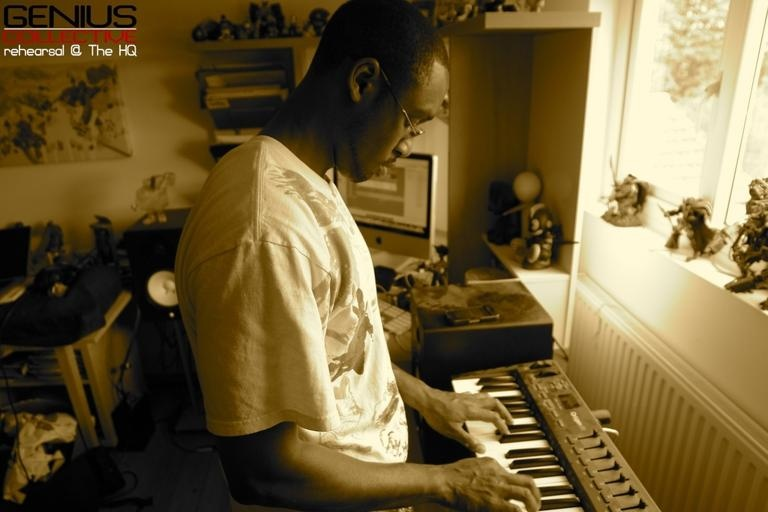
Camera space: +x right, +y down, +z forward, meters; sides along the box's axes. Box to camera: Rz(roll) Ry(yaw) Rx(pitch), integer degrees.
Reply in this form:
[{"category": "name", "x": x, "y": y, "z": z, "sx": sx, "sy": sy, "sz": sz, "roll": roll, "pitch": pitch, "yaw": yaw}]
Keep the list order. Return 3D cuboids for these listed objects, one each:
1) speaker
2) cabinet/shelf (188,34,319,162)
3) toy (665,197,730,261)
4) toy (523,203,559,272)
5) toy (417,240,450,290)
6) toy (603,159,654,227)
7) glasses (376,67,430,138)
[{"category": "speaker", "x": -1.056, "y": 0.486, "z": 3.494, "sx": 0.568, "sy": 1.342, "sz": 0.471, "roll": 0, "pitch": 10, "yaw": 33}, {"category": "cabinet/shelf", "x": -0.621, "y": -0.790, "z": 2.914, "sx": 0.577, "sy": 0.836, "sz": 0.276, "roll": 2, "pitch": 47, "yaw": -7}, {"category": "toy", "x": 1.298, "y": -0.108, "z": 2.539, "sx": 0.207, "sy": 0.256, "sz": 0.096, "roll": -3, "pitch": 1, "yaw": 39}, {"category": "toy", "x": 0.752, "y": -0.088, "z": 2.962, "sx": 0.145, "sy": 0.299, "sz": 0.191, "roll": 2, "pitch": 15, "yaw": -32}, {"category": "toy", "x": 0.302, "y": 0.077, "z": 3.461, "sx": 0.161, "sy": 0.235, "sz": 0.076, "roll": 3, "pitch": -2, "yaw": 40}, {"category": "toy", "x": 1.126, "y": -0.253, "z": 2.823, "sx": 0.178, "sy": 0.275, "sz": 0.144, "roll": 26, "pitch": -20, "yaw": 8}, {"category": "glasses", "x": 0.058, "y": -0.463, "z": 1.878, "sx": 0.042, "sy": 0.163, "sz": 0.167, "roll": -13, "pitch": 57, "yaw": 11}]
